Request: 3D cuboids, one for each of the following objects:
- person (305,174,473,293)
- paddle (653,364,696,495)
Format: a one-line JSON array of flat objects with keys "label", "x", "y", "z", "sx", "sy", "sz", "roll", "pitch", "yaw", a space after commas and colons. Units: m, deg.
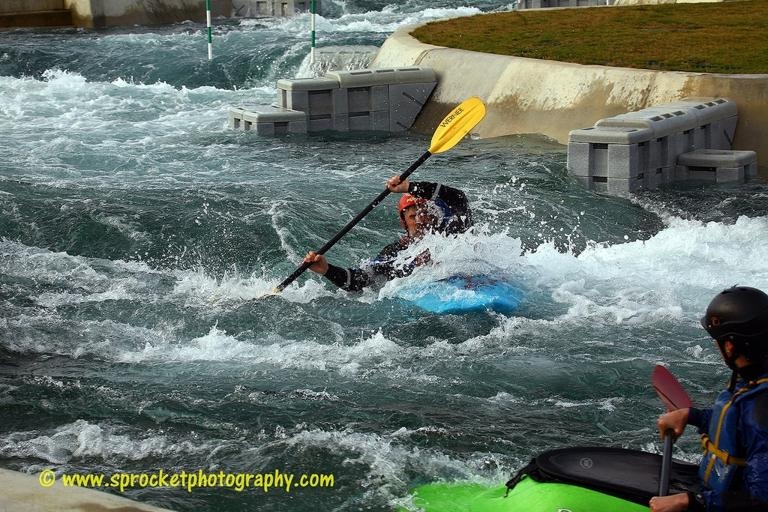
[{"label": "person", "x": 0.195, "y": -0.256, "z": 8.946, "sx": 2.128, "sy": 0.699, "sz": 0.920, "roll": -29, "pitch": 7, "yaw": -24}, {"label": "paddle", "x": 1.870, "y": 1.110, "z": 5.643, "sx": 0.213, "sy": 0.181, "sz": 1.277, "roll": 38, "pitch": 33, "yaw": 2}]
